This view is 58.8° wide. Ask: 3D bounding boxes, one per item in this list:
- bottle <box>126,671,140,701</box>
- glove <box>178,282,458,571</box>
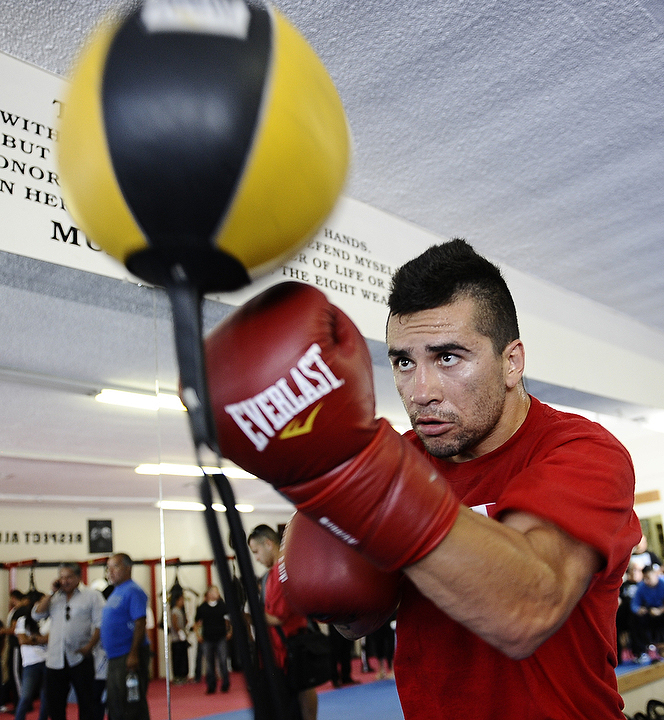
[{"bbox_3d":[-0.591,0.971,1.746,0.043,0.081,0.017,6,-16,-32],"label":"bottle"},{"bbox_3d":[0.000,0.074,0.664,0.182,0.350,0.221,-30,13,-7],"label":"glove"}]
